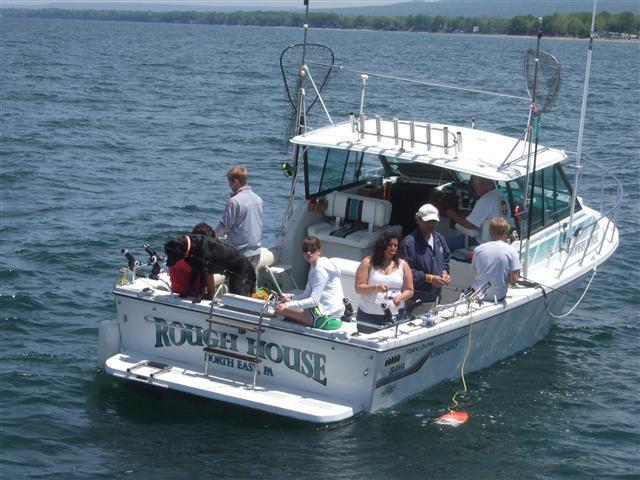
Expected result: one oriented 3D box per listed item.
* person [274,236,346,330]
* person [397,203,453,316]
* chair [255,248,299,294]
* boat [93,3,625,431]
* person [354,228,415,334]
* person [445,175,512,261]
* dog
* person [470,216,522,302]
[{"bbox_3d":[0.117,0.515,14.351,1.145,1.155,1.449,11,15,12],"label":"person"},{"bbox_3d":[1.466,0.254,14.990,0.734,1.447,0.713,0,2,-11],"label":"person"},{"bbox_3d":[-0.642,0.466,15.867,0.660,0.631,0.736,16,20,40],"label":"chair"},{"bbox_3d":[0.714,-0.557,15.108,4.328,5.283,6.669,20,29,36],"label":"boat"},{"bbox_3d":[0.832,0.541,14.252,0.969,1.294,1.204,10,19,28],"label":"person"},{"bbox_3d":[2.433,-0.373,16.124,1.018,1.156,0.917,11,21,30],"label":"person"},{"bbox_3d":[-1.694,0.329,14.640,1.722,0.833,0.596,11,-4,-12],"label":"dog"},{"bbox_3d":[2.487,0.266,15.122,0.751,1.114,0.781,8,13,23],"label":"person"}]
